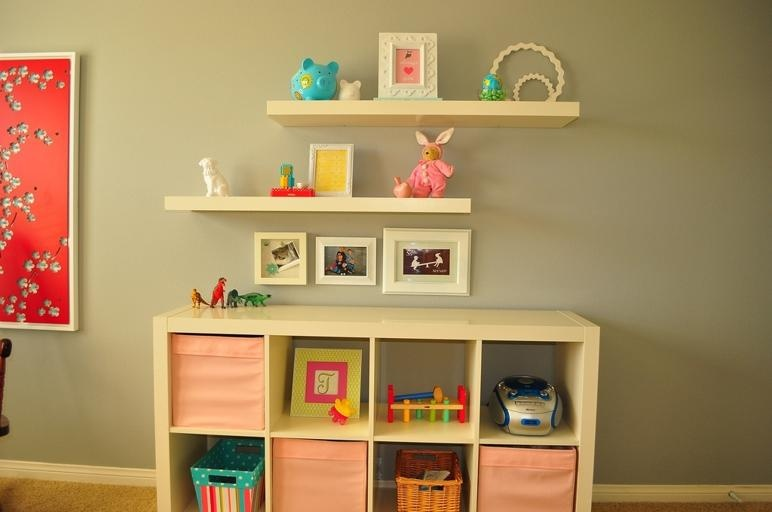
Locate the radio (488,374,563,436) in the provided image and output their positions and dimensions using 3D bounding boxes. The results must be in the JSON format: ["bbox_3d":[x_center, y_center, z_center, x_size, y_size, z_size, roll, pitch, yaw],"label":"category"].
[{"bbox_3d":[0.736,0.779,3.501,0.268,0.173,0.308,1,7,4],"label":"radio"}]

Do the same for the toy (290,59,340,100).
[{"bbox_3d":[-0.394,-0.946,3.668,0.257,0.229,0.176,0,3,-8],"label":"toy"}]

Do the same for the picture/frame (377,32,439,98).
[{"bbox_3d":[0.117,-1.023,3.634,0.335,0.407,0.042,0,-5,-1],"label":"picture/frame"}]

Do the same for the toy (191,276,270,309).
[{"bbox_3d":[-0.852,0.200,3.720,0.462,0.191,0.181,-1,-3,12],"label":"toy"}]

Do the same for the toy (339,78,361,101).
[{"bbox_3d":[-0.192,-0.890,3.643,0.108,0.127,0.127,0,4,-2],"label":"toy"}]

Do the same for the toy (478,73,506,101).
[{"bbox_3d":[0.562,-0.884,3.597,0.146,0.150,0.138,0,7,-1],"label":"toy"}]

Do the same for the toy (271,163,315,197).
[{"bbox_3d":[-0.522,-0.409,3.680,0.193,0.158,0.199,0,0,-4],"label":"toy"}]
